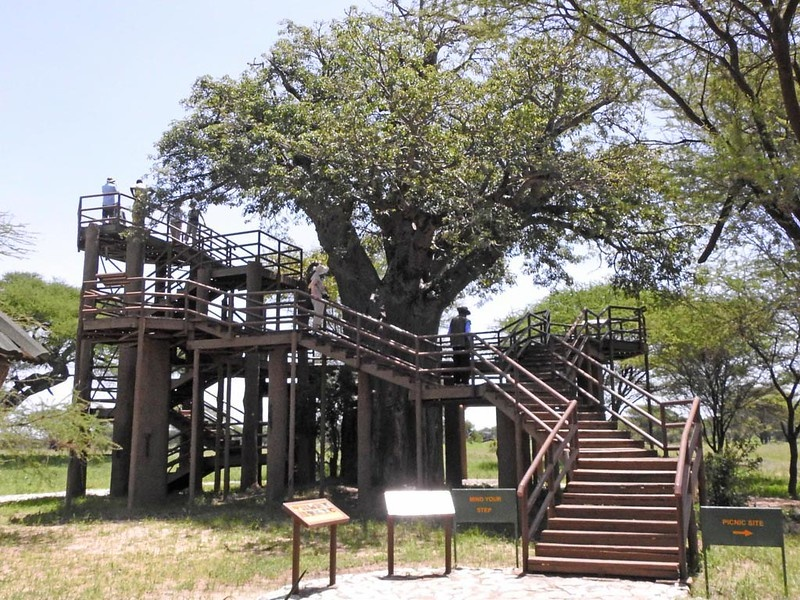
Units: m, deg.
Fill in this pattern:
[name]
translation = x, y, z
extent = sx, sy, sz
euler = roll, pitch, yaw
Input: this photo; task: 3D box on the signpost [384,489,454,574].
[signpost]
translation = 0.419, 4.966, 15.036
extent = 1.687, 2.033, 1.085
euler = 1, -22, -5
